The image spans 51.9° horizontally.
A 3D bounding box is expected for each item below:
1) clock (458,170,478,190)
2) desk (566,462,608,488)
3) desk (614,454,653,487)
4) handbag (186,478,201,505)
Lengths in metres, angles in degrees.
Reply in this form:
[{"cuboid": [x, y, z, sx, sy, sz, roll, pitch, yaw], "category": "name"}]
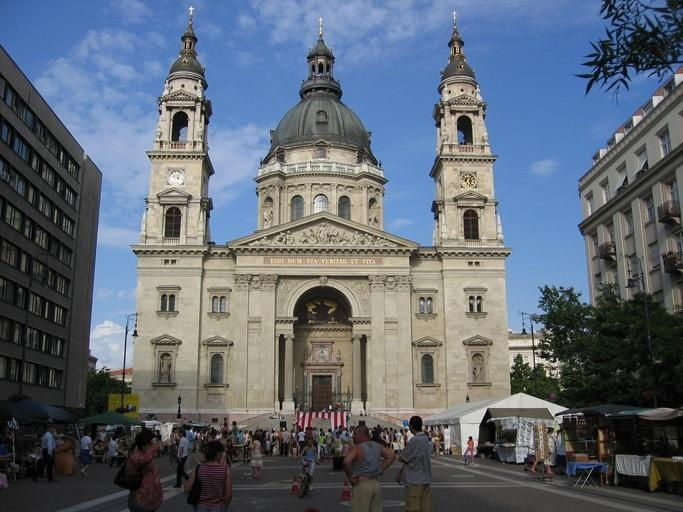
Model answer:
[{"cuboid": [13.034, -7.763, 72.525, 2.055, 2.163, 0.120, 0, -13, -1], "category": "clock"}, {"cuboid": [11.138, 9.884, 31.733, 1.734, 1.018, 2.827, -7, -19, 19], "category": "desk"}, {"cuboid": [12.626, 9.212, 30.431, 0.520, 1.133, 2.355, 3, -19, -11], "category": "desk"}, {"cuboid": [-3.385, 5.479, 16.239, 0.233, 0.601, 0.380, 7, -19, -20], "category": "handbag"}]
